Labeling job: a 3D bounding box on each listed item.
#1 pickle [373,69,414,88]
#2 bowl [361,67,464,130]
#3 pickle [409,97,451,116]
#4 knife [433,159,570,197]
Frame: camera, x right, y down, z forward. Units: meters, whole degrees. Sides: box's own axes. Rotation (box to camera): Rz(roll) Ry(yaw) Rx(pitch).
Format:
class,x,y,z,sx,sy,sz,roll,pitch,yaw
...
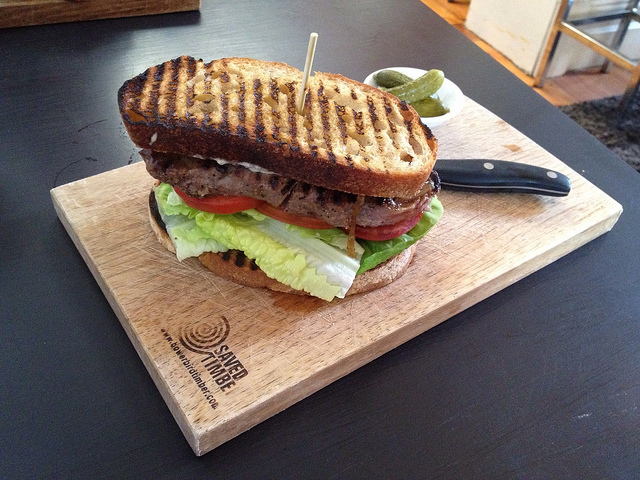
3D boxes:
class,x,y,z,sx,sy,sz,roll,pitch,yaw
pickle,0.363,-0.796,2.388,0.184,0.059,0.081,9,42,13
bowl,0.471,-0.702,2.556,0.552,0.533,0.121,-4,81,5
pickle,0.521,-0.615,2.307,0.174,0.053,0.084,8,42,-3
knife,0.756,-0.256,2.061,0.663,0.132,0.135,4,53,-5
